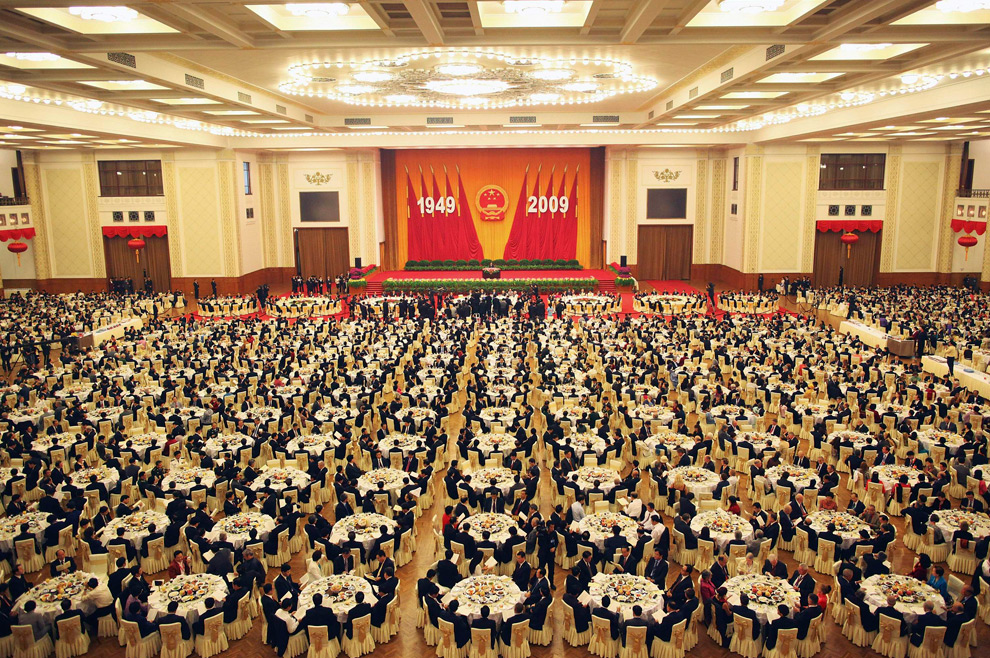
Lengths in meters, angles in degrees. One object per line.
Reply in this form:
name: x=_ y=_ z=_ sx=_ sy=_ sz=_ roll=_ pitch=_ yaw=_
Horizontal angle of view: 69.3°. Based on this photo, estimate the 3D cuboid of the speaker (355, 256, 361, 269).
speaker: x=-6.977 y=-3.332 z=36.789 sx=0.367 sy=0.481 sz=0.542 roll=-4 pitch=11 yaw=-14

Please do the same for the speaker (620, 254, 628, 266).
speaker: x=6.686 y=-3.476 z=37.153 sx=0.275 sy=0.552 sz=0.749 roll=4 pitch=12 yaw=24

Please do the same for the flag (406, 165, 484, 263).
flag: x=-2.726 y=-6.192 z=38.093 sx=5.284 sy=5.595 sz=0.285 roll=-2 pitch=12 yaw=-2

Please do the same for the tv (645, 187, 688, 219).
tv: x=8.922 y=-6.407 z=37.337 sx=2.038 sy=1.640 sz=0.250 roll=-2 pitch=12 yaw=-7

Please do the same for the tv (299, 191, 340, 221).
tv: x=-9.110 y=-6.251 z=37.471 sx=2.061 sy=1.599 sz=0.153 roll=0 pitch=12 yaw=5
